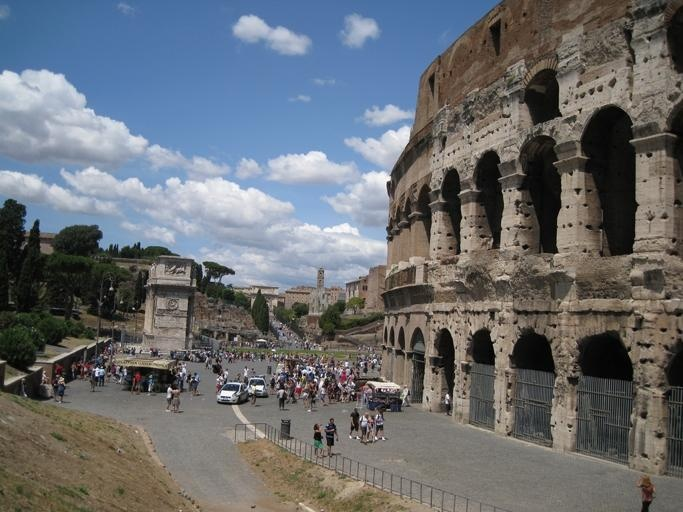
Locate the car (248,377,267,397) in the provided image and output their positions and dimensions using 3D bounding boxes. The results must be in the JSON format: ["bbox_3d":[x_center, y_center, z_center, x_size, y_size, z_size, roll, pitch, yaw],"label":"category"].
[{"bbox_3d":[-5.245,8.238,40.208,0.801,0.738,1.806,1,-8,-4],"label":"car"}]

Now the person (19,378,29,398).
[{"bbox_3d":[-16.021,6.505,31.898,0.332,0.788,1.335,-7,-2,-27],"label":"person"}]
